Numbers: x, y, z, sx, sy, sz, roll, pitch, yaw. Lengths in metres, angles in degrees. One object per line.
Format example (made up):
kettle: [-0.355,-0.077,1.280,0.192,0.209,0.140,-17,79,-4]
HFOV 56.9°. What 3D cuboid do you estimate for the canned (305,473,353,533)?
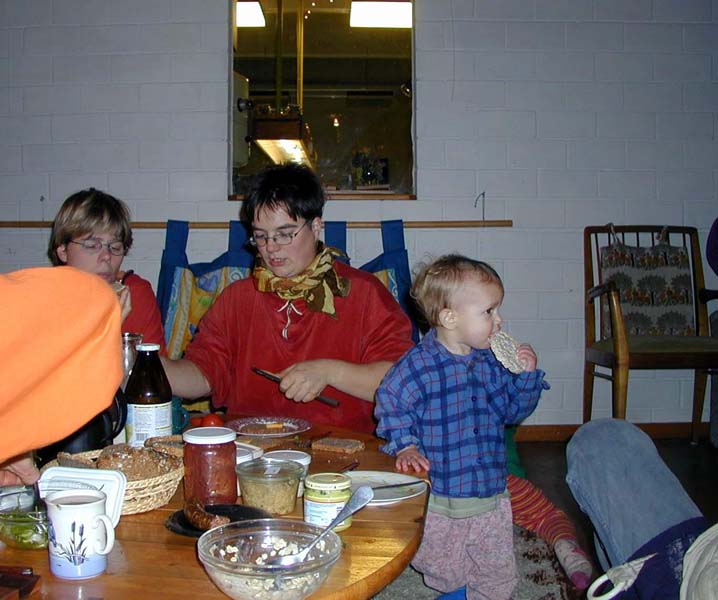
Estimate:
canned: [-0.054,0.358,1.167,0.088,0.086,0.086,4,-3,-32]

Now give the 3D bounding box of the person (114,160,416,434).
person: [-0.284,0.073,2.224,0.973,0.958,0.551,-2,14,-6]

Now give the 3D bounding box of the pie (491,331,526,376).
pie: [0.409,0.150,1.818,0.096,0.110,0.161,1,4,13]

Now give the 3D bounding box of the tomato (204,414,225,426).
tomato: [-0.318,0.255,1.432,0.039,0.025,0.045,0,-2,0]

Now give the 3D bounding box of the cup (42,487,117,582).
cup: [-0.404,0.361,1.006,0.116,0.113,0.074,-3,0,38]

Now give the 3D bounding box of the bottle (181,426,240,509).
bottle: [-0.271,0.302,1.216,0.094,0.142,0.095,2,10,0]

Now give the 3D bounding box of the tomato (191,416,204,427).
tomato: [-0.352,0.262,1.437,0.020,0.026,0.027,-3,1,-1]

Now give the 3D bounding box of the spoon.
spoon: [-0.070,0.371,1.007,0.058,0.039,0.271,-7,12,37]

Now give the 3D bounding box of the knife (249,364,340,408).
knife: [-0.187,0.263,1.987,0.226,0.033,0.052,28,-21,-14]

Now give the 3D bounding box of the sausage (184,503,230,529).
sausage: [-0.260,0.361,1.116,0.056,0.020,0.044,15,2,-2]

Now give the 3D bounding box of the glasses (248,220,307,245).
glasses: [-0.289,-0.216,2.211,0.218,0.078,0.093,1,4,21]
